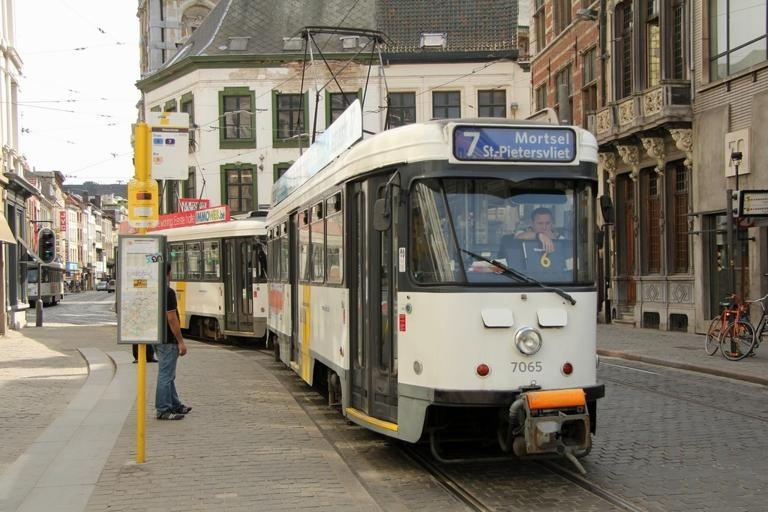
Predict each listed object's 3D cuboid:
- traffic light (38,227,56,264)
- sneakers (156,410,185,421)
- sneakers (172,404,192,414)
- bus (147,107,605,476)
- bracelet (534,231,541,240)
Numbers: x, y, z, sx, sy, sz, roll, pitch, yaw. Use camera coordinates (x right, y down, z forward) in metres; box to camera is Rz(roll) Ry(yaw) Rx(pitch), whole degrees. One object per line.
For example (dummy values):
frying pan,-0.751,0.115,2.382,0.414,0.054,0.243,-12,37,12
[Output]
traffic light,-11.307,-0.353,31.144,0.519,1.207,1.663,-3,6,-21
sneakers,-3.737,2.760,16.300,0.507,0.234,0.175,-1,3,-6
sneakers,-3.582,2.708,16.498,0.350,0.161,0.117,-6,8,-39
bus,0.468,0.208,15.297,2.513,5.604,6.594,-5,7,-34
bracelet,2.254,-0.324,13.661,0.075,0.112,0.039,4,-8,10
